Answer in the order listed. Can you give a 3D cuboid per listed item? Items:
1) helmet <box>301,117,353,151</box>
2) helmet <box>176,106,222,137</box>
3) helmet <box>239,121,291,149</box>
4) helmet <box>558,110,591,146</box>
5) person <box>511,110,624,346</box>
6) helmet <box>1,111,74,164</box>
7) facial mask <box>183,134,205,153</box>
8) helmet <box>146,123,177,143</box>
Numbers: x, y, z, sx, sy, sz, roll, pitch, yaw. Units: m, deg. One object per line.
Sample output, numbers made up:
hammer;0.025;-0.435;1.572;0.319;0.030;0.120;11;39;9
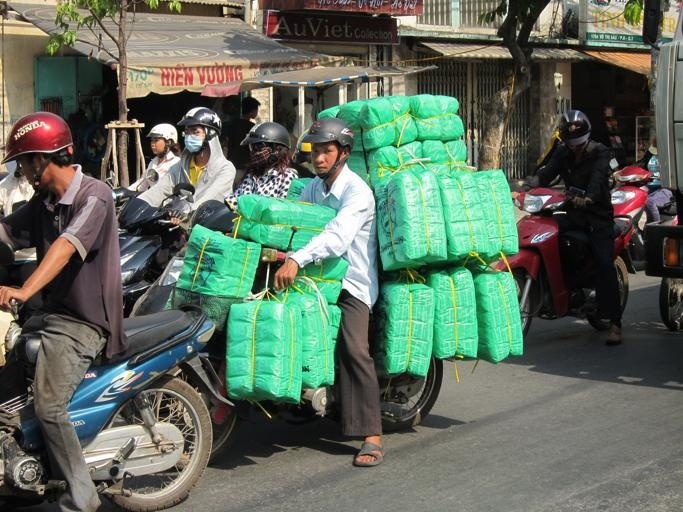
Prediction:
helmet;-0.083;-0.819;5.432;0.263;0.140;0.192;0;3;-35
helmet;-1.235;-1.166;7.169;0.312;0.178;0.248;10;-3;-35
helmet;-0.601;-0.974;6.572;0.276;0.157;0.217;3;5;-5
helmet;2.277;-1.256;8.022;0.255;0.318;0.355;-12;2;23
person;2.262;-0.267;8.108;1.411;2.326;1.026;-2;9;-1
helmet;-1.616;-0.626;4.334;0.306;0.197;0.235;-5;4;-4
facial mask;-1.292;-0.991;7.152;0.140;0.110;0.154;12;19;38
helmet;-1.869;-1.333;8.735;0.300;0.170;0.207;5;0;-41
